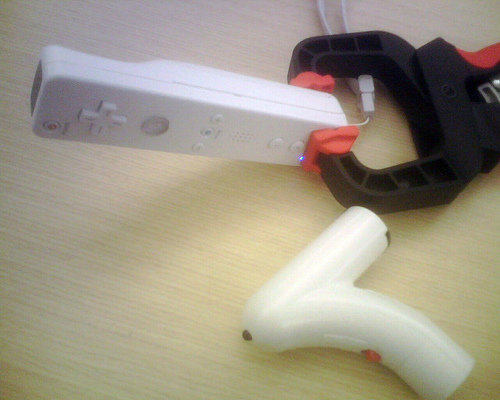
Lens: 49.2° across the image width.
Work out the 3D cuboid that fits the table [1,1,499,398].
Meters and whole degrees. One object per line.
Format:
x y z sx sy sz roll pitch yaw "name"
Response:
0.005 -0.055 1.235 1.122 0.207 1.052 -6 56 -7 "table"
